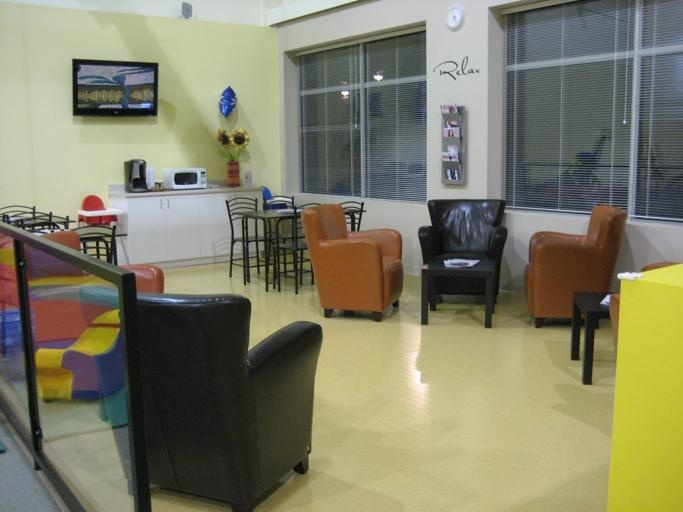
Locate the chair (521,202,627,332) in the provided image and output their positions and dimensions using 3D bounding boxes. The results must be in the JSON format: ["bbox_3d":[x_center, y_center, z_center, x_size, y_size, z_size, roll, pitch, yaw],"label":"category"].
[{"bbox_3d":[2.418,0.007,5.482,1.023,1.371,1.139,0,7,16],"label":"chair"}]

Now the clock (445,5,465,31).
[{"bbox_3d":[1.418,-2.958,6.477,0.053,0.297,0.278,-10,14,-39],"label":"clock"}]

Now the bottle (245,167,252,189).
[{"bbox_3d":[-1.580,-1.302,8.666,0.135,0.305,0.477,-3,12,-10],"label":"bottle"}]

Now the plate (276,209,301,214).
[{"bbox_3d":[-0.741,-0.595,6.988,0.151,0.042,0.161,-9,11,-41],"label":"plate"}]

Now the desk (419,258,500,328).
[{"bbox_3d":[1.225,0.289,5.416,0.660,0.589,0.738,1,5,18],"label":"desk"}]

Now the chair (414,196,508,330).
[{"bbox_3d":[1.314,-0.009,5.698,1.049,1.630,1.345,1,5,17],"label":"chair"}]

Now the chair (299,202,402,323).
[{"bbox_3d":[0.112,-0.008,5.951,1.172,1.460,1.025,1,11,19],"label":"chair"}]

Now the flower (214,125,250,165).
[{"bbox_3d":[-1.800,-1.828,8.581,0.528,0.548,0.426,-3,11,-11],"label":"flower"}]

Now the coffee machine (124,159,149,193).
[{"bbox_3d":[-3.078,-1.174,7.647,0.377,0.451,0.277,-1,11,-2],"label":"coffee machine"}]

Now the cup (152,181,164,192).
[{"bbox_3d":[-2.816,-1.044,7.891,0.154,0.224,0.187,0,-6,-6],"label":"cup"}]

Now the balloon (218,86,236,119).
[{"bbox_3d":[-1.874,-2.525,8.558,0.342,0.503,0.132,-10,14,-37],"label":"balloon"}]

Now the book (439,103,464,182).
[{"bbox_3d":[1.443,-1.405,6.658,0.353,1.017,0.094,8,14,39],"label":"book"}]

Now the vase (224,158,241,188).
[{"bbox_3d":[-1.792,-1.347,8.520,0.200,0.428,0.217,-4,11,-16],"label":"vase"}]
